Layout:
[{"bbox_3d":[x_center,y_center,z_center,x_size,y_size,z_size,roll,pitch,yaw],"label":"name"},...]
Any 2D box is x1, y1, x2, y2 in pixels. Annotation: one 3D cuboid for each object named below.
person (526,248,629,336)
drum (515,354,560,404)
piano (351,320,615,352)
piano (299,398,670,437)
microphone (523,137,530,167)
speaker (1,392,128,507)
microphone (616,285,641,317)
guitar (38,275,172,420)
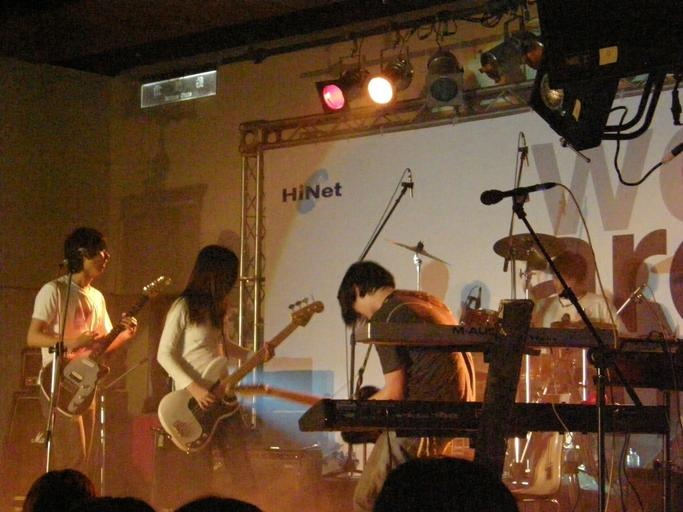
[{"bbox_3d":[2.016,0.267,7.320,0.334,0.887,0.543,2,-11,-22],"label":"person"},{"bbox_3d":[1.817,1.078,8.034,0.343,0.614,0.400,-8,-42,21],"label":"drum"},{"bbox_3d":[0.862,0.495,5.304,1.534,0.166,0.234,3,-9,-5],"label":"piano"},{"bbox_3d":[0.908,1.020,5.467,2.292,0.255,0.410,5,-10,-12],"label":"piano"},{"bbox_3d":[1.683,-0.946,7.897,0.054,0.248,0.039,-4,-1,15],"label":"microphone"},{"bbox_3d":[-2.621,1.675,7.922,0.980,1.119,0.293,0,7,-15],"label":"speaker"},{"bbox_3d":[2.527,0.396,7.661,0.080,0.366,0.101,29,23,-2],"label":"microphone"},{"bbox_3d":[-1.920,0.632,7.149,0.549,1.570,0.184,35,-7,-2],"label":"guitar"}]
